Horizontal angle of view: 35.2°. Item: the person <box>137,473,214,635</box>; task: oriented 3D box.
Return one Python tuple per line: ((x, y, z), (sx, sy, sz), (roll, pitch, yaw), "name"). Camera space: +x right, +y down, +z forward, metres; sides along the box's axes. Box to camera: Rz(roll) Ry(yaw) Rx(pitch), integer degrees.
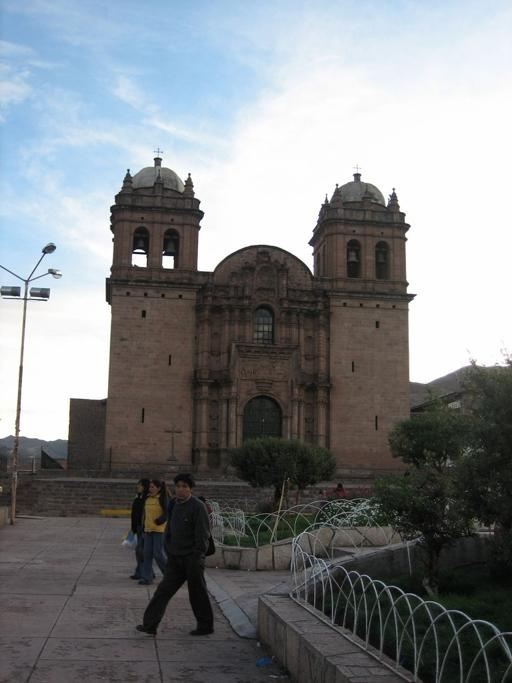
((-0.832, 2.296, 8.759), (0.768, 1.696, 0.763), (1, -8, -3), "person")
